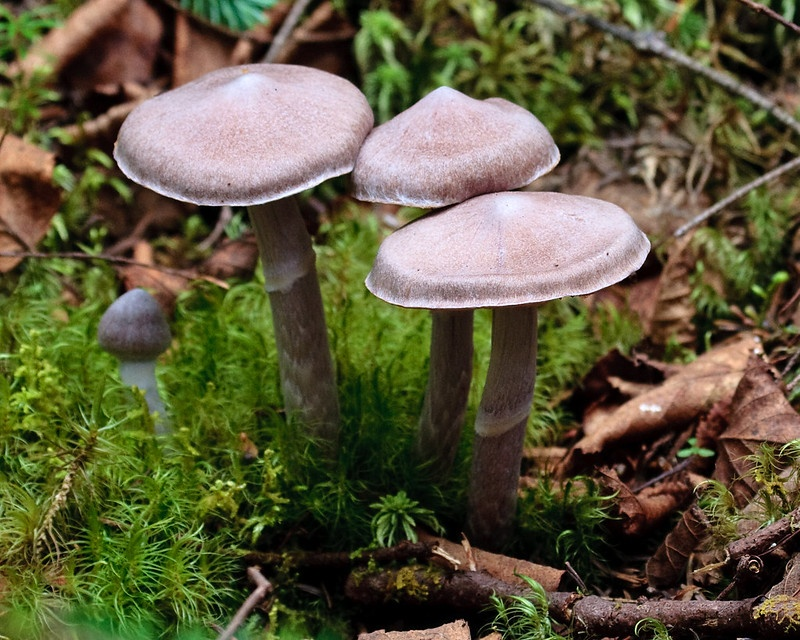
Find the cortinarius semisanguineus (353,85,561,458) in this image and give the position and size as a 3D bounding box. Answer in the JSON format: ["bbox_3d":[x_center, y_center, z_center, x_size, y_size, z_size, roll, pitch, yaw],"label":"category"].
[{"bbox_3d":[0.292,-0.170,4.129,0.741,1.512,0.876,-7,5,4],"label":"cortinarius semisanguineus"}]

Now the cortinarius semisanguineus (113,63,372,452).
[{"bbox_3d":[-0.619,-0.170,4.269,1.121,1.792,1.222,2,26,5],"label":"cortinarius semisanguineus"}]

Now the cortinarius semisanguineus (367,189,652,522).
[{"bbox_3d":[0.466,0.152,3.961,0.860,1.270,0.527,2,33,9],"label":"cortinarius semisanguineus"}]

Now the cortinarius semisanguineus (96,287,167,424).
[{"bbox_3d":[-1.186,0.227,4.361,0.346,0.718,0.334,-14,15,-26],"label":"cortinarius semisanguineus"}]
